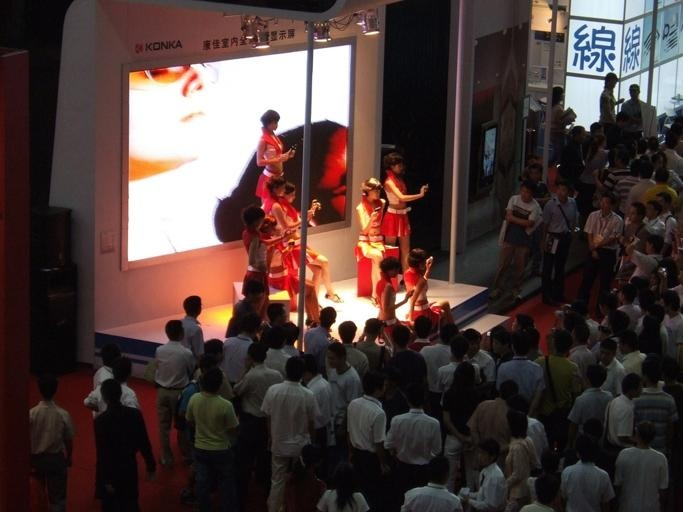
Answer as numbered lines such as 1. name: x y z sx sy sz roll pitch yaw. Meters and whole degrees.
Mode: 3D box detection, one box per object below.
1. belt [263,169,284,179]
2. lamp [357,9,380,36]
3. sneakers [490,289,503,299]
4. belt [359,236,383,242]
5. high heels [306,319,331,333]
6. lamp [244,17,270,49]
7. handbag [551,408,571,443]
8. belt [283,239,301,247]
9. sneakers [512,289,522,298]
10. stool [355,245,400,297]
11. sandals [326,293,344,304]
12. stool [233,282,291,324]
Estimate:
1. belt: -0.918 -1.097 8.218 0.217 0.133 0.171 2 14 19
2. lamp: 0.344 -2.923 7.736 0.213 0.330 0.322 -1 0 -7
3. sneakers: 2.543 0.605 10.092 0.100 0.138 0.338 7 10 32
4. belt: 0.394 -0.248 8.584 0.174 0.073 0.130 7 11 43
5. high heels: -0.174 0.632 5.693 0.263 0.146 0.180 -1 0 39
6. lamp: -1.035 -2.677 7.399 0.273 0.426 0.352 -1 0 -11
7. handbag: 1.815 1.409 5.128 0.140 0.208 0.060 -1 0 17
8. belt: -0.657 -0.167 8.099 0.152 0.096 0.335 -1 0 20
9. sneakers: 2.864 0.595 10.047 0.141 0.150 0.138 -5 7 -12
10. stool: 0.471 0.189 8.181 0.436 0.872 0.454 12 23 30
11. sandals: -0.091 0.583 8.594 0.197 0.085 0.124 11 14 36
12. stool: -0.974 0.511 7.718 0.561 0.461 0.593 -6 15 -28
